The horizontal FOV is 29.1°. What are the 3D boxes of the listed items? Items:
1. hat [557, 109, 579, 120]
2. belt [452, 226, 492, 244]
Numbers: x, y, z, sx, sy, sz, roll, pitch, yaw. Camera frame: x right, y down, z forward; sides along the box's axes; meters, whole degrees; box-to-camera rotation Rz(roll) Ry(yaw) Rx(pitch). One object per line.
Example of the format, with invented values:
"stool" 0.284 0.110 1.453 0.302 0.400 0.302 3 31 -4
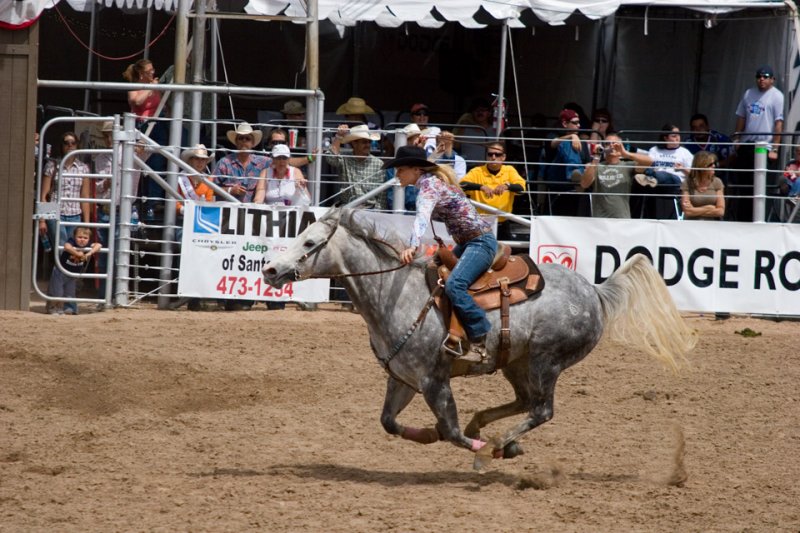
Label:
"hat" 2.770 -2.460 25.530 0.256 0.193 0.198 20 24 36
"belt" 0.891 -0.430 19.532 0.264 0.182 0.364 -15 -4 44
